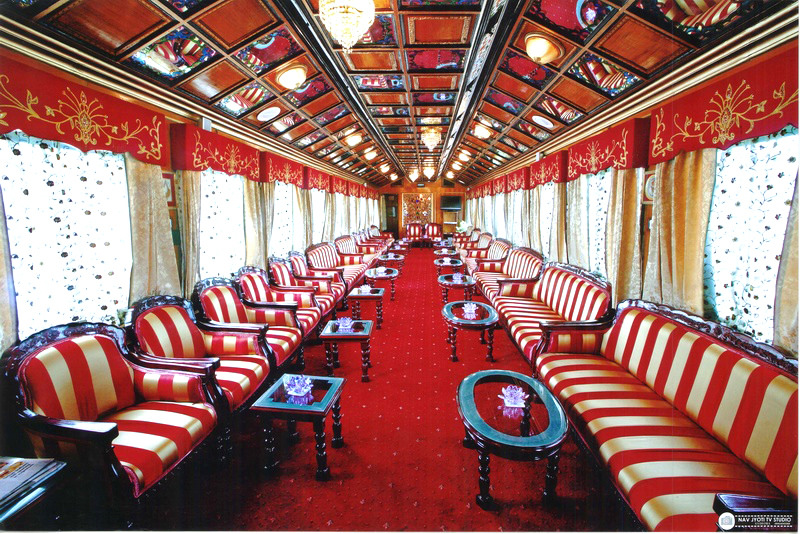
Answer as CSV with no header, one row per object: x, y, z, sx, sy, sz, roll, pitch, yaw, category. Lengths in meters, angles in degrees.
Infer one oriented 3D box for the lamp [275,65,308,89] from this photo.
-1.233,-2.182,5.971,0.344,0.138,0.362,2,-7,-12,lamp

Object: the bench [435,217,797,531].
1.980,1.001,4.693,0.828,0.938,2.560,-3,14,-3,bench

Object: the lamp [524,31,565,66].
1.459,-2.228,5.370,0.392,0.204,0.388,2,-6,-8,lamp

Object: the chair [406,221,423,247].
0.512,-1.112,17.773,0.580,0.872,0.691,0,1,2,chair

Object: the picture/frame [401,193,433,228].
0.615,-2.010,18.206,1.252,1.277,0.079,0,4,1,picture/frame

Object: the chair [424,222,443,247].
1.099,-1.125,17.675,0.615,0.819,0.678,0,4,-2,chair
